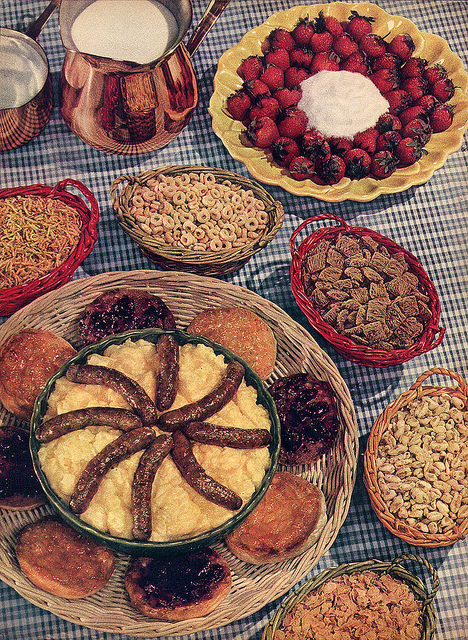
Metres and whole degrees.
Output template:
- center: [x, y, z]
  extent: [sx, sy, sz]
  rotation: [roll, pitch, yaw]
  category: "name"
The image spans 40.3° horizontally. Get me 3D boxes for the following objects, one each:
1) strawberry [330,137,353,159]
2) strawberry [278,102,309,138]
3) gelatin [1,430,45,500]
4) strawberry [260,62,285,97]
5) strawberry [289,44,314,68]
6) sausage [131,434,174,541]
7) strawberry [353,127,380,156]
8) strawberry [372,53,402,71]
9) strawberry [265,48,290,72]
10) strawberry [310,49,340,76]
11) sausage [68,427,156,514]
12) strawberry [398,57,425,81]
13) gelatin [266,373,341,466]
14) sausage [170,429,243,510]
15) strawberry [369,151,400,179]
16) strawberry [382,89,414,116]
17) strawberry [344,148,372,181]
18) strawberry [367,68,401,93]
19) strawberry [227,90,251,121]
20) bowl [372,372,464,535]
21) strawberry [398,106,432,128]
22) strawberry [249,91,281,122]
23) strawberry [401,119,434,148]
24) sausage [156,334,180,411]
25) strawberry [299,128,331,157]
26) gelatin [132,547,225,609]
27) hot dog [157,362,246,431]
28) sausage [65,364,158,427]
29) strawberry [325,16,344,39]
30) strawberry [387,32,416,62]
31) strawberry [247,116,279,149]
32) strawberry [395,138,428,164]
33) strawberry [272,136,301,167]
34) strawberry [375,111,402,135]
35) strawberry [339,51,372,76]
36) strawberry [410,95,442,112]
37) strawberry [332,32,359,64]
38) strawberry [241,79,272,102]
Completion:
- center: [0.416, -0.701, 2.586]
  extent: [0.076, 0.047, 0.082]
  rotation: [7, 86, 10]
  category: "strawberry"
- center: [0.233, -0.804, 2.585]
  extent: [0.133, 0.123, 0.144]
  rotation: [8, 77, 18]
  category: "strawberry"
- center: [-0.732, 0.488, 2.135]
  extent: [0.123, 0.083, 0.235]
  rotation: [-16, 65, -10]
  category: "gelatin"
- center: [0.151, -0.992, 2.627]
  extent: [0.101, 0.108, 0.127]
  rotation: [-19, 57, 0]
  category: "strawberry"
- center: [0.282, -1.117, 2.688]
  extent: [0.090, 0.094, 0.085]
  rotation: [-6, 43, -36]
  category: "strawberry"
- center: [-0.250, 0.476, 1.841]
  extent: [0.084, 0.137, 0.298]
  rotation: [14, 63, 4]
  category: "sausage"
- center: [0.543, -0.736, 2.644]
  extent: [0.093, 0.065, 0.109]
  rotation: [2, 97, -7]
  category: "strawberry"
- center: [0.640, -1.098, 2.708]
  extent: [0.096, 0.085, 0.084]
  rotation: [6, 89, -11]
  category: "strawberry"
- center: [0.186, -1.104, 2.717]
  extent: [0.088, 0.084, 0.094]
  rotation: [-15, 105, 26]
  category: "strawberry"
- center: [0.380, -1.083, 2.737]
  extent: [0.110, 0.105, 0.098]
  rotation: [-36, 95, 11]
  category: "strawberry"
- center: [-0.362, 0.412, 1.851]
  extent: [0.117, 0.089, 0.378]
  rotation: [43, 83, -4]
  category: "sausage"
- center: [0.749, -1.070, 2.716]
  extent: [0.110, 0.075, 0.067]
  rotation: [-25, 100, 11]
  category: "strawberry"
- center: [0.248, 0.352, 2.279]
  extent: [0.288, 0.092, 0.300]
  rotation: [-20, 83, -5]
  category: "gelatin"
- center: [-0.102, 0.448, 1.869]
  extent: [0.084, 0.116, 0.290]
  rotation: [-39, 71, -19]
  category: "sausage"
- center: [0.605, -0.642, 2.611]
  extent: [0.114, 0.107, 0.078]
  rotation: [18, 64, 6]
  category: "strawberry"
- center: [0.681, -0.916, 2.725]
  extent: [0.126, 0.098, 0.102]
  rotation: [32, 44, 31]
  category: "strawberry"
- center: [0.499, -0.636, 2.594]
  extent: [0.117, 0.112, 0.090]
  rotation: [-4, 64, -5]
  category: "strawberry"
- center: [0.624, -1.012, 2.675]
  extent: [0.137, 0.106, 0.103]
  rotation: [5, 70, 4]
  category: "strawberry"
- center: [0.016, -0.878, 2.603]
  extent: [0.095, 0.102, 0.087]
  rotation: [-18, 23, -5]
  category: "strawberry"
- center: [0.709, 0.529, 2.498]
  extent: [0.432, 0.199, 0.555]
  rotation: [16, 74, 0]
  category: "bowl"
- center: [0.740, -0.855, 2.646]
  extent: [0.132, 0.103, 0.095]
  rotation: [9, 95, 3]
  category: "strawberry"
- center: [0.118, -0.862, 2.632]
  extent: [0.120, 0.133, 0.109]
  rotation: [-25, 70, -8]
  category: "strawberry"
- center: [0.738, -0.770, 2.668]
  extent: [0.136, 0.114, 0.122]
  rotation: [20, 103, 9]
  category: "strawberry"
- center: [-0.205, 0.151, 2.021]
  extent: [0.090, 0.069, 0.267]
  rotation: [-10, 55, 9]
  category: "sausage"
- center: [0.328, -0.727, 2.568]
  extent: [0.121, 0.073, 0.117]
  rotation: [-1, 73, 2]
  category: "strawberry"
- center: [-0.179, 0.841, 2.051]
  extent: [0.289, 0.052, 0.159]
  rotation: [-7, 64, -7]
  category: "gelatin"
- center: [-0.098, 0.256, 1.987]
  extent: [0.113, 0.070, 0.316]
  rotation: [37, 54, 22]
  category: "hot dog"
- center: [-0.364, 0.210, 1.955]
  extent: [0.324, 0.078, 0.108]
  rotation: [31, 79, 6]
  category: "sausage"
- center: [0.418, -1.256, 2.724]
  extent: [0.089, 0.067, 0.055]
  rotation: [29, 91, 3]
  category: "strawberry"
- center: [0.710, -1.175, 2.755]
  extent: [0.137, 0.120, 0.120]
  rotation: [-19, 26, -28]
  category: "strawberry"
- center: [0.116, -0.764, 2.598]
  extent: [0.128, 0.133, 0.082]
  rotation: [-5, 64, -5]
  category: "strawberry"
- center: [0.717, -0.696, 2.604]
  extent: [0.110, 0.097, 0.101]
  rotation: [10, 31, 29]
  category: "strawberry"
- center: [0.199, -0.680, 2.552]
  extent: [0.116, 0.110, 0.114]
  rotation: [15, 20, 19]
  category: "strawberry"
- center: [0.629, -0.812, 2.619]
  extent: [0.089, 0.056, 0.100]
  rotation: [-33, 61, -6]
  category: "strawberry"
- center: [0.506, -1.090, 2.709]
  extent: [0.128, 0.111, 0.106]
  rotation: [-11, 29, -2]
  category: "strawberry"
- center: [0.801, -0.917, 2.682]
  extent: [0.100, 0.055, 0.071]
  rotation: [-6, 55, -3]
  category: "strawberry"
- center: [0.464, -1.166, 2.762]
  extent: [0.107, 0.104, 0.114]
  rotation: [-18, 44, 40]
  category: "strawberry"
- center: [0.091, -0.946, 2.634]
  extent: [0.105, 0.062, 0.076]
  rotation: [21, 34, 1]
  category: "strawberry"
